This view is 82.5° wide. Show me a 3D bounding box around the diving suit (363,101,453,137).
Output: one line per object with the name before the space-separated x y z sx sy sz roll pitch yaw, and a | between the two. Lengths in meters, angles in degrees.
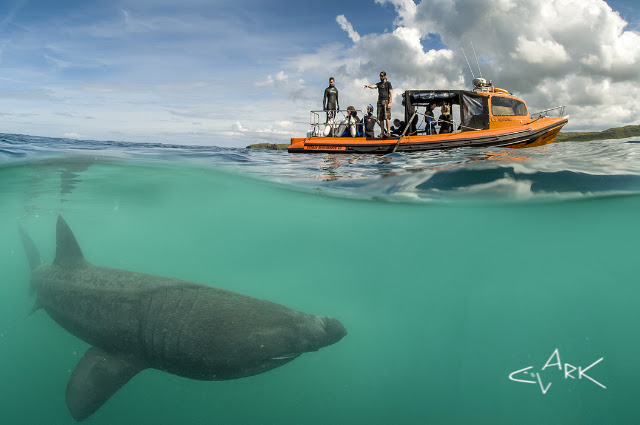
diving suit | 4.021 -3.739 14.509 2.287 1.345 1.635 1 11 13

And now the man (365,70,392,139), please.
man | 2.345 -4.403 14.740 1.320 2.395 0.766 8 17 33
